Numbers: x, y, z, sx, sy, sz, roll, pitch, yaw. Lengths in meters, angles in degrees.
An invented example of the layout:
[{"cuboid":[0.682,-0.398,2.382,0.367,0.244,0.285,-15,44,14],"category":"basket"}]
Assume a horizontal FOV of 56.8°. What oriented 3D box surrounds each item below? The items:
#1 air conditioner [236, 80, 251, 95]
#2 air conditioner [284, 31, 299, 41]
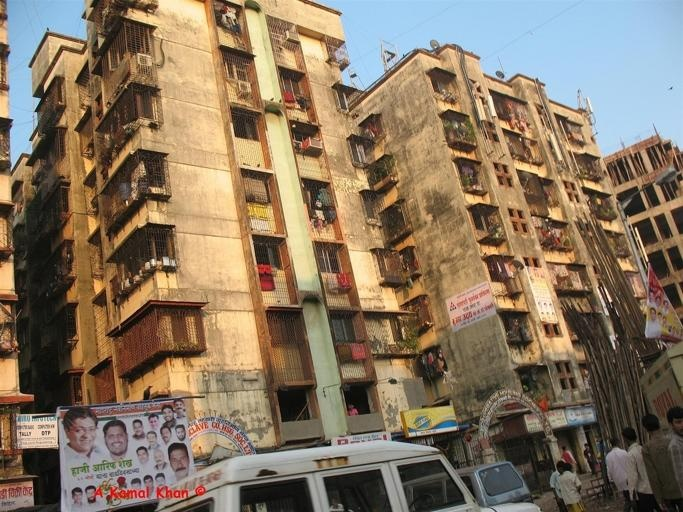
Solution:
[{"cuboid":[-4.892,-8.345,31.324,0.491,0.749,0.711,-24,-14,34],"category":"air conditioner"},{"cuboid":[-2.746,-12.331,35.212,0.813,0.720,0.317,6,-24,-33],"category":"air conditioner"}]
